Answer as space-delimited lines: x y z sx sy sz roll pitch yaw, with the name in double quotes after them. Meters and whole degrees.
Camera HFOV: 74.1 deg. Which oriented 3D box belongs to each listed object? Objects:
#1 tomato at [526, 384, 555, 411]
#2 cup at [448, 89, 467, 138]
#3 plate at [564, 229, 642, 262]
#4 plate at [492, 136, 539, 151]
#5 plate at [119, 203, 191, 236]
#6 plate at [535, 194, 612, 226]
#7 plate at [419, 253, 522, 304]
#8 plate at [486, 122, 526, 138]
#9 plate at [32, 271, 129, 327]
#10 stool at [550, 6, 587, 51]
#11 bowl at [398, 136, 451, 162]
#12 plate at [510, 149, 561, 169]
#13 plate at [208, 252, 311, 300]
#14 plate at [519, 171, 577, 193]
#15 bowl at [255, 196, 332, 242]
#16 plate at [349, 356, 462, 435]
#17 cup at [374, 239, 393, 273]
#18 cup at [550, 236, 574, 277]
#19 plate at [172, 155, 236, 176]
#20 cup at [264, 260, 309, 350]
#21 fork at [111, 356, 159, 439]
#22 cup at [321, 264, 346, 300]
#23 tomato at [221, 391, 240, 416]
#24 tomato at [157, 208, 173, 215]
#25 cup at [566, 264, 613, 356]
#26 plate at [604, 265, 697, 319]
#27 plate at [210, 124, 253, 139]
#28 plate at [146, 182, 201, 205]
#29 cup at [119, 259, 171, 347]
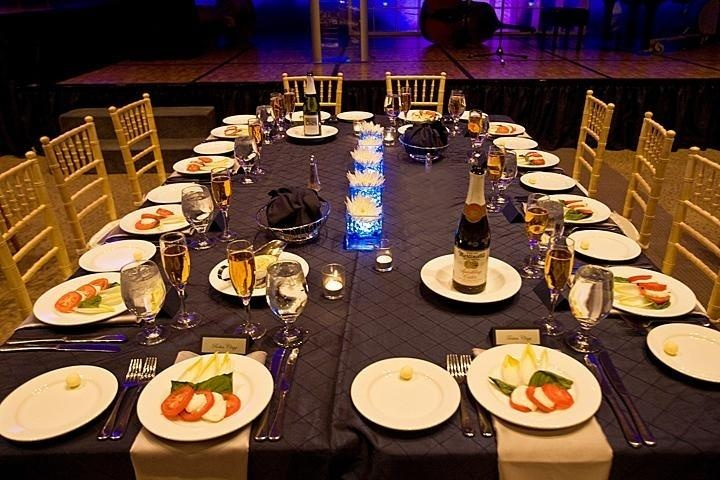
0.469 0.420 1.263 0.048 0.030 0.076 -13 35 -16 "tomato"
0.602 -0.811 3.021 0.118 0.258 0.121 0 33 0 "cup"
0.946 0.017 1.859 0.199 0.025 0.189 11 34 23 "plate"
0.879 -0.555 2.732 0.228 0.023 0.228 24 39 37 "plate"
-0.875 -0.077 2.020 0.202 0.031 0.190 2 28 -2 "plate"
0.962 -0.132 2.074 0.241 0.022 0.229 -17 32 -26 "plate"
0.375 0.146 1.638 0.215 0.026 0.208 7 28 12 "plate"
0.903 -0.698 3.010 0.184 0.024 0.181 18 34 29 "plate"
-0.930 0.212 1.572 0.268 0.035 0.254 21 49 27 "plate"
3.016 -3.097 6.925 0.469 0.621 1.317 12 36 20 "stool"
0.336 -0.490 2.619 0.200 0.070 0.190 2 26 -1 "bowl"
0.950 -0.432 2.565 0.204 0.020 0.189 0 30 2 "plate"
-0.392 0.130 1.688 0.214 0.028 0.198 0 28 -4 "plate"
0.914 -0.285 2.344 0.167 0.017 0.159 -18 33 -24 "plate"
-0.273 -0.072 1.882 0.208 0.068 0.191 0 39 0 "bowl"
0.120 0.406 1.294 0.289 0.062 0.214 -1 33 0 "plate"
0.087 0.070 1.821 0.062 0.076 0.109 2 33 3 "cup"
0.615 0.053 1.458 0.078 0.119 0.075 -6 39 5 "cup"
-0.821 -0.400 2.526 0.202 0.033 0.200 22 26 36 "plate"
-0.221 0.182 1.455 0.121 0.237 0.178 -8 35 -7 "cup"
-0.663 0.446 1.358 0.049 0.035 0.320 13 20 -21 "fork"
-0.074 0.155 1.688 0.111 0.119 0.106 -1 40 0 "cup"
-0.341 0.433 1.266 0.043 0.017 0.067 -11 34 -13 "tomato"
-0.850 -0.124 2.081 0.055 0.017 0.029 14 48 -34 "tomato"
0.677 0.209 1.410 0.120 0.244 0.108 11 27 31 "cup"
0.949 0.174 1.560 0.236 0.031 0.217 0 31 -1 "plate"
-0.828 -0.690 3.034 0.264 0.035 0.247 5 30 3 "plate"
-0.892 -0.222 2.276 0.204 0.019 0.189 -7 31 -15 "plate"
-0.662 0.203 1.463 0.125 0.257 0.116 5 45 -5 "cup"
